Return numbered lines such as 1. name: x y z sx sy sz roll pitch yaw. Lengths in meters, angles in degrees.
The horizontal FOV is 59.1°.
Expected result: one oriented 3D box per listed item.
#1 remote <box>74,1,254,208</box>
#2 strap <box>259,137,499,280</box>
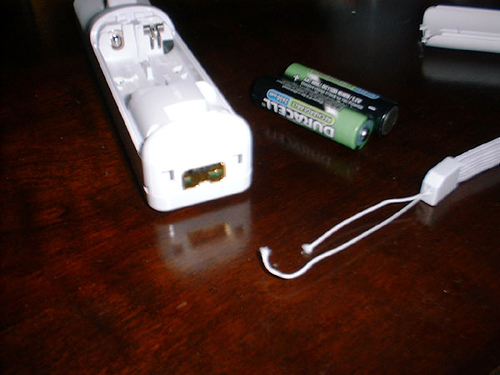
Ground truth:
1. remote: -0.168 -0.217 0.783 0.166 0.158 0.580 -12 43 -18
2. strap: 0.222 0.035 0.670 0.446 0.052 0.068 -23 53 -13
